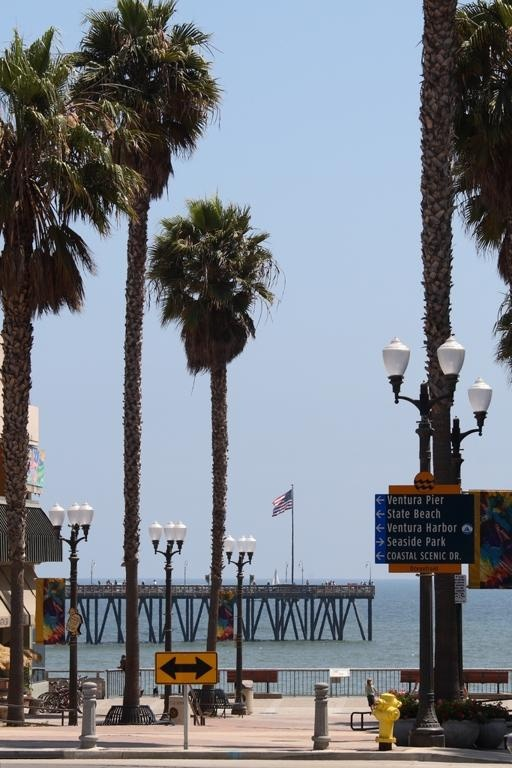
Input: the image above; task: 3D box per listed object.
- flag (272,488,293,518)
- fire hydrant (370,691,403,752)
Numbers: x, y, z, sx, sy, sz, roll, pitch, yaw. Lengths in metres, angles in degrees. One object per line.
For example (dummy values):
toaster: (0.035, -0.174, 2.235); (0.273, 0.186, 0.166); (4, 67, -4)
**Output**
flag: (1.081, 4.575, 83.887); (0.564, 1.032, 2.416); (-2, -10, 7)
fire hydrant: (2.079, 5.382, 34.982); (0.432, 0.952, 1.314); (-1, -9, 3)
